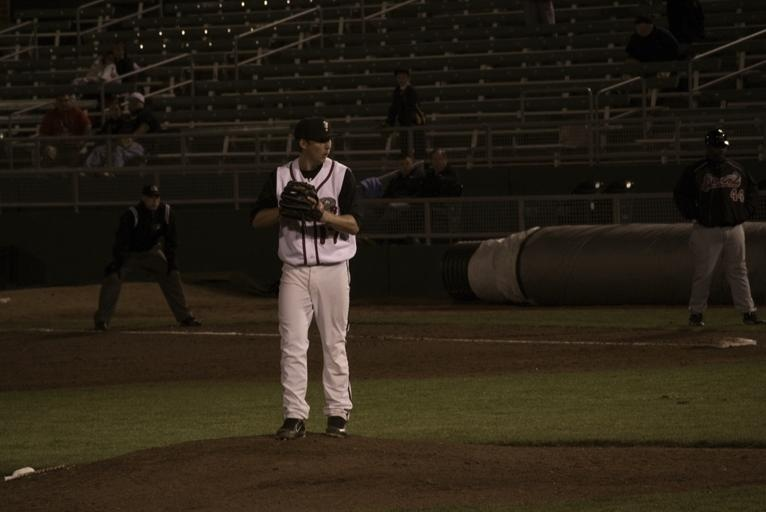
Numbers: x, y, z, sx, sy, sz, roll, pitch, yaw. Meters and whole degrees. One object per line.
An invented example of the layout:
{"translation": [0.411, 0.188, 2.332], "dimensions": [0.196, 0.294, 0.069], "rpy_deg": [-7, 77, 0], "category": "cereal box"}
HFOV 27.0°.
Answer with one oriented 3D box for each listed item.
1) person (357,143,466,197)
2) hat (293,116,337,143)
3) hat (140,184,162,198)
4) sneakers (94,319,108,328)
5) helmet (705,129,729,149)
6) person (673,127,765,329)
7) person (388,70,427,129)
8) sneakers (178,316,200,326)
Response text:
{"translation": [0.215, -1.771, 35.336], "dimensions": [3.093, 1.239, 0.883], "rpy_deg": [1, 1, 11], "category": "person"}
{"translation": [-0.999, -1.877, 23.570], "dimensions": [0.517, 0.223, 0.348], "rpy_deg": [-5, 13, 14], "category": "hat"}
{"translation": [-4.388, -1.237, 30.067], "dimensions": [0.426, 0.257, 0.533], "rpy_deg": [0, -1, -25], "category": "hat"}
{"translation": [-5.332, 1.213, 30.165], "dimensions": [0.250, 0.175, 0.137], "rpy_deg": [0, 4, -4], "category": "sneakers"}
{"translation": [6.091, -2.136, 29.019], "dimensions": [0.347, 0.335, 0.306], "rpy_deg": [1, 4, 4], "category": "helmet"}
{"translation": [6.120, -0.547, 29.077], "dimensions": [1.476, 3.512, 0.460], "rpy_deg": [1, 5, 8], "category": "person"}
{"translation": [0.541, -3.589, 36.286], "dimensions": [0.827, 1.260, 1.192], "rpy_deg": [0, 4, -3], "category": "person"}
{"translation": [-3.721, 1.184, 30.602], "dimensions": [0.245, 0.093, 0.280], "rpy_deg": [8, -8, -39], "category": "sneakers"}
